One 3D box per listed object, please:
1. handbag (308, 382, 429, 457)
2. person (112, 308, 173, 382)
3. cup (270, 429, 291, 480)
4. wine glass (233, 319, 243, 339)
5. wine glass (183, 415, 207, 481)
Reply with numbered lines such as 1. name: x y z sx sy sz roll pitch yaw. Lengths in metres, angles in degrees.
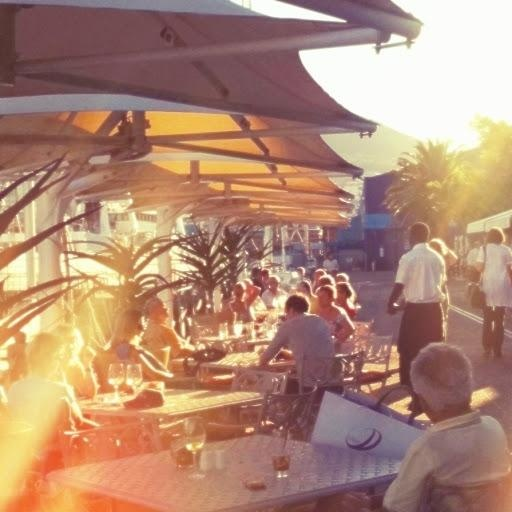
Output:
1. handbag: 0.646 0.913 3.160 0.660 0.543 0.214 1 15 -1
2. person: -1.226 0.960 5.807 0.566 0.734 0.892 -6 8 -30
3. cup: 0.122 1.024 2.673 0.094 0.132 0.088 -2 -14 0
4. wine glass: -0.293 1.193 8.762 0.196 0.326 0.190 -1 -2 7
5. wine glass: -0.308 0.955 2.708 0.104 0.284 0.256 -2 0 -8
